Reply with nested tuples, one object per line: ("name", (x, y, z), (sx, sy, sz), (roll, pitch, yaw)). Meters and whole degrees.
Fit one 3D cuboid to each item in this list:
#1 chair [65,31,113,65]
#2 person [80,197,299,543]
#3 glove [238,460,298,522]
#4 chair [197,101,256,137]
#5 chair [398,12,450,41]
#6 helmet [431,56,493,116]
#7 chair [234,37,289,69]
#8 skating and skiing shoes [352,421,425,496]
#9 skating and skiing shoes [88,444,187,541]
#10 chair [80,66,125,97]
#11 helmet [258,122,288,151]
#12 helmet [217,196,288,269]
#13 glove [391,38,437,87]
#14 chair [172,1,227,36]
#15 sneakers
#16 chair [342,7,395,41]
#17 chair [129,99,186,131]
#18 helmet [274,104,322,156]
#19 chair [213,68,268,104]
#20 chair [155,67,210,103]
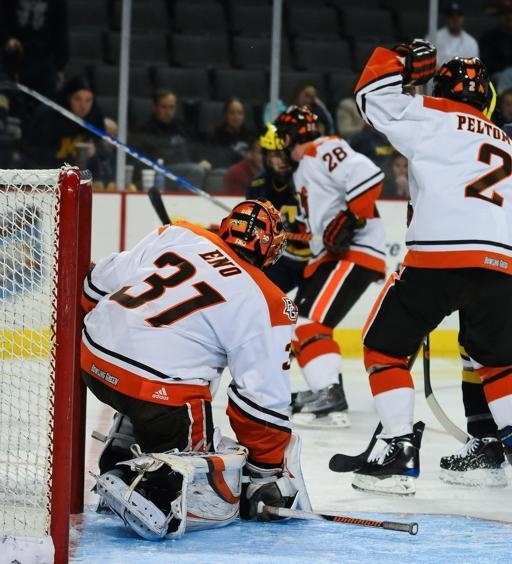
("chair", (-0.973, -1.369, 5.074), (0.223, 0.144, 0.192), (2, 9, 2))
("person", (-0.171, 0.224, 2.544), (0.689, 0.954, 0.507), (4, -1, -11))
("glove", (0.033, 0.628, 2.586), (0.232, 0.165, 0.142), (0, 5, 4))
("chair", (-0.199, -1.111, 5.699), (0.333, 0.226, 0.271), (4, -23, -12))
("chair", (1.200, -1.874, 6.271), (0.392, 0.202, 0.181), (-1, 22, -5))
("helmet", (0.689, -0.668, 3.002), (0.229, 0.222, 0.240), (-3, 16, -18))
("chair", (0.007, -1.509, 5.705), (0.278, 0.284, 0.267), (1, -9, -9))
("skating and skiing shoes", (0.437, 0.593, 2.838), (0.259, 0.205, 0.087), (-11, -22, 43))
("skating and skiing shoes", (-0.302, 0.551, 2.352), (0.252, 0.104, 0.246), (31, -13, 45))
("chair", (-0.921, -1.218, 5.224), (0.182, 0.177, 0.357), (4, -1, 2))
("helmet", (0.083, -0.703, 4.290), (0.142, 0.143, 0.119), (-27, 36, -26))
("helmet", (-0.019, -0.177, 2.761), (0.217, 0.186, 0.243), (17, 7, 8))
("glove", (0.499, -0.734, 2.923), (0.191, 0.135, 0.130), (4, 18, 25))
("chair", (-0.341, -1.579, 5.192), (0.366, 0.207, 0.150), (0, 1, -31))
("sneakers", (0.712, 0.651, 3.073), (0.379, 0.198, 0.125), (2, -1, 5))
("chair", (0.825, -1.886, 6.308), (0.362, 0.227, 0.122), (3, -1, 4))
("chair", (-0.629, -1.053, 5.514), (0.329, 0.142, 0.259), (5, -16, -13))
("helmet", (0.199, -0.744, 4.204), (0.221, 0.220, 0.156), (4, -1, 0))
("chair", (-0.097, -1.312, 5.714), (0.316, 0.326, 0.284), (2, -28, -7))
("chair", (-0.432, -1.205, 5.230), (0.253, 0.156, 0.209), (1, 30, -5))
